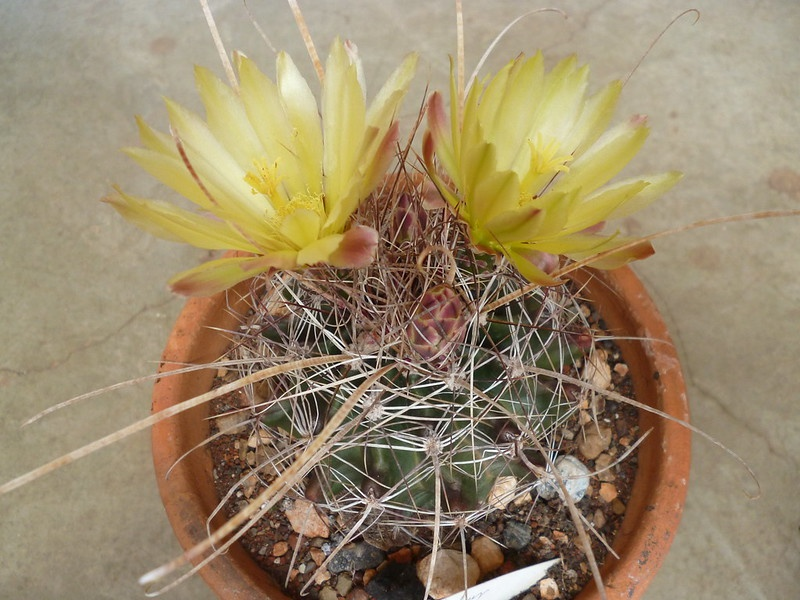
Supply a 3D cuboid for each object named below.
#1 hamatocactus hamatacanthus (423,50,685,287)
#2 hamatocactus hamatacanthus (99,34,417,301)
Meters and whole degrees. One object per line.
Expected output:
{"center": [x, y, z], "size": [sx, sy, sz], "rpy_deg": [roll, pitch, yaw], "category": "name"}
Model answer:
{"center": [0.214, -0.176, 1.141], "size": [0.334, 0.190, 0.313], "rpy_deg": [-19, 82, -27], "category": "hamatocactus hamatacanthus"}
{"center": [-0.169, -0.135, 0.999], "size": [0.317, 0.190, 0.359], "rpy_deg": [0, 52, 16], "category": "hamatocactus hamatacanthus"}
